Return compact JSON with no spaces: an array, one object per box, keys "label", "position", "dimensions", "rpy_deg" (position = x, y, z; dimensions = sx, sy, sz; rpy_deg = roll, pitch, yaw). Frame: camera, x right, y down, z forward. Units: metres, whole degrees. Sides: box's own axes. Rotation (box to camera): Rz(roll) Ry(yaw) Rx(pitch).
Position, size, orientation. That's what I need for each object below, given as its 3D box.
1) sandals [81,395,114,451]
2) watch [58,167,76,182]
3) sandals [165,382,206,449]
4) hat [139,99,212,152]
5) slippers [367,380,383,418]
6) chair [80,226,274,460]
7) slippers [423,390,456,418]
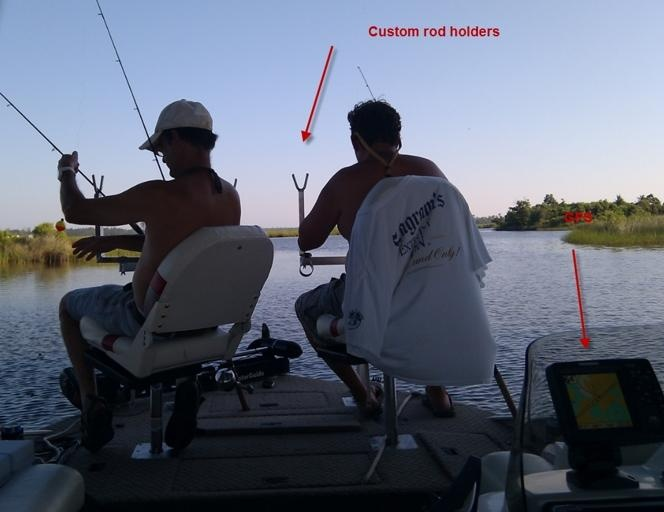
[{"label":"sandals","position":[-1.303,0.950,3.527],"dimensions":[0.160,0.214,0.308],"rpy_deg":[-3,-35,-21]},{"label":"watch","position":[-1.512,-0.469,3.548],"dimensions":[0.077,0.082,0.079],"rpy_deg":[9,4,-21]},{"label":"sandals","position":[-0.837,0.901,3.493],"dimensions":[0.174,0.384,0.063],"rpy_deg":[8,1,19]},{"label":"hat","position":[-0.894,-0.755,3.563],"dimensions":[0.330,0.227,0.245],"rpy_deg":[0,10,1]},{"label":"slippers","position":[0.301,0.990,4.345],"dimensions":[0.079,0.106,0.257],"rpy_deg":[-1,4,10]},{"label":"chair","position":[-0.936,0.218,3.659],"dimensions":[1.081,0.916,0.805],"rpy_deg":[9,7,43]},{"label":"slippers","position":[0.722,0.976,4.195],"dimensions":[0.093,0.119,0.296],"rpy_deg":[1,6,0]}]
